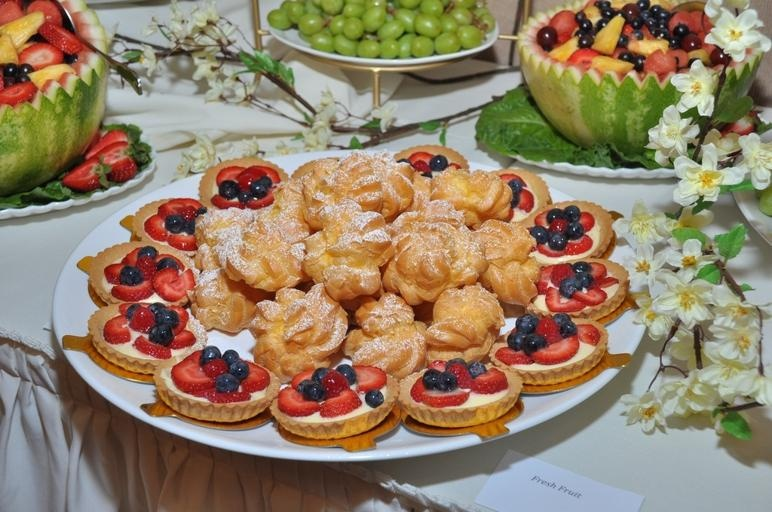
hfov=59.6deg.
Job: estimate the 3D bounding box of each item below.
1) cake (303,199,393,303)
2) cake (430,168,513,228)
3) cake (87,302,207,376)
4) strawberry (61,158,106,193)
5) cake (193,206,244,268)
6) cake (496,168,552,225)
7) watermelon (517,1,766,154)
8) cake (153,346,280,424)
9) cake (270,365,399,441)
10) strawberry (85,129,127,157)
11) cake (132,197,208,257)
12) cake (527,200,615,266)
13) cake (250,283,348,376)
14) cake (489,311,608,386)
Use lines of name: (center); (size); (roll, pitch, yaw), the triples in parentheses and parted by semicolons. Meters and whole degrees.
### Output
cake: (-0.108, 0.001, 2.165); (0.291, 0.103, 0.305); (6, 85, 6)
cake: (0.303, -0.225, 2.400); (0.232, 0.093, 0.221); (33, 49, 22)
cake: (-0.783, 0.260, 2.152); (0.266, 0.087, 0.262); (13, 27, -5)
strawberry: (-1.269, -0.344, 2.854); (0.164, 0.065, 0.129); (-8, 48, -11)
cake: (-0.565, -0.044, 2.429); (0.202, 0.063, 0.204); (6, 71, 34)
cake: (0.533, -0.213, 2.724); (0.210, 0.059, 0.217); (31, 50, 17)
watermelon: (0.986, -0.725, 2.813); (0.793, 0.466, 0.778); (-8, 36, -2)
cake: (-0.503, 0.392, 2.001); (0.265, 0.085, 0.259); (-9, 30, -36)
cake: (-0.147, 0.429, 1.945); (0.251, 0.089, 0.247); (-7, 23, 2)
strawberry: (-1.242, -0.513, 3.000); (0.183, 0.043, 0.101); (-38, 31, -26)
cake: (-0.816, -0.143, 2.524); (0.239, 0.066, 0.229); (25, 47, 12)
cake: (0.696, -0.085, 2.486); (0.259, 0.085, 0.254); (-6, 29, 14)
cake: (-0.279, 0.236, 2.084); (0.266, 0.107, 0.295); (11, 82, 6)
cake: (0.503, 0.293, 2.074); (0.260, 0.092, 0.254); (-8, 28, 31)
